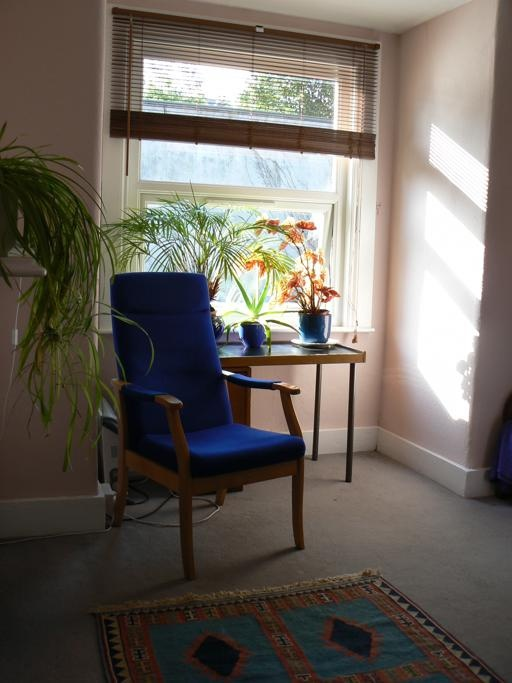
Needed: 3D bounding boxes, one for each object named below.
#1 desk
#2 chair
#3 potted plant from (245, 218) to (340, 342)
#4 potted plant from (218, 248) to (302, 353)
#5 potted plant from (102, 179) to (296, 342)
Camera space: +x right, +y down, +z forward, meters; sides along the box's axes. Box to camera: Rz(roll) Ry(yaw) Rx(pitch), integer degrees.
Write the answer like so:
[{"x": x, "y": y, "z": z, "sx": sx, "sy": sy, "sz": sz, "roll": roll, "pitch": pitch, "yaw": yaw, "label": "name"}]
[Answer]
[{"x": 0.108, "y": 0.371, "z": 2.738, "sx": 0.760, "sy": 0.726, "sz": 0.449, "roll": 0, "pitch": 8, "yaw": -11, "label": "desk"}, {"x": -0.210, "y": 0.250, "z": 1.976, "sx": 0.661, "sy": 1.013, "sz": 0.554, "roll": 5, "pitch": 5, "yaw": 44, "label": "chair"}, {"x": 0.260, "y": -0.299, "z": 2.802, "sx": 0.367, "sy": 0.598, "sz": 0.325, "roll": 0, "pitch": 7, "yaw": 36, "label": "potted plant"}, {"x": -0.004, "y": -0.227, "z": 2.766, "sx": 0.399, "sy": 0.493, "sz": 0.375, "roll": -4, "pitch": 7, "yaw": 5, "label": "potted plant"}, {"x": -0.358, "y": -0.352, "z": 2.796, "sx": 0.794, "sy": 0.551, "sz": 0.812, "roll": 1, "pitch": 1, "yaw": -20, "label": "potted plant"}]
